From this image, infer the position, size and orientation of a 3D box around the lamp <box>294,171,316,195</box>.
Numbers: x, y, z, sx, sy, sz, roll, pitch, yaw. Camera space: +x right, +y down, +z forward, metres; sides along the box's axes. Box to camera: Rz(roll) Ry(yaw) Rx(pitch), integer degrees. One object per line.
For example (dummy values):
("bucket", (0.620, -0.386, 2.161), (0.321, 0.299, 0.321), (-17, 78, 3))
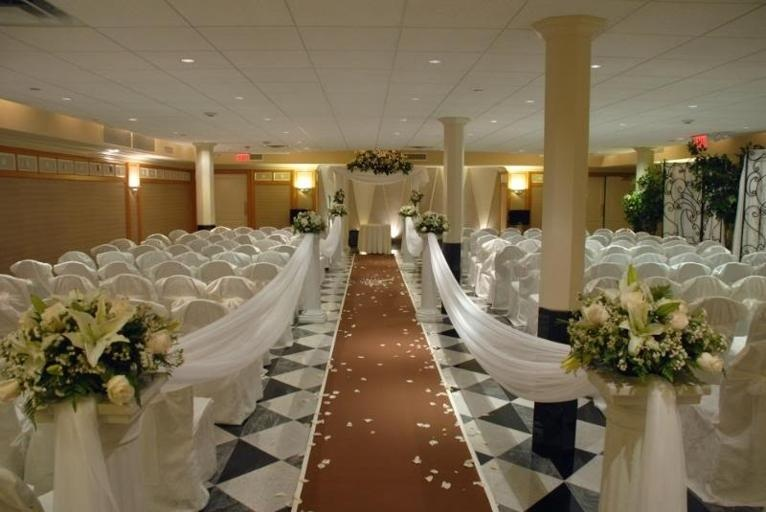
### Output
("lamp", (-2.881, -2.696, 17.666), (1.095, 1.078, 0.605), (-1, 4, -1))

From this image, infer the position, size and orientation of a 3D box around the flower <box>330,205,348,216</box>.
("flower", (-1.130, -1.126, 12.101), (0.319, 0.193, 0.323), (1, 0, 0))

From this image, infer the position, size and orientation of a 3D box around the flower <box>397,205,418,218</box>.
("flower", (0.588, -1.038, 11.152), (0.392, 0.233, 0.393), (1, 2, -9))

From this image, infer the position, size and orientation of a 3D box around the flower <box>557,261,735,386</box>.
("flower", (1.536, 0.435, 2.802), (0.763, 0.542, 0.791), (6, 10, 30))

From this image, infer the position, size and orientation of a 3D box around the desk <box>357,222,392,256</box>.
("desk", (-0.256, -0.540, 16.314), (1.285, 1.135, 0.911), (-1, 3, -18))

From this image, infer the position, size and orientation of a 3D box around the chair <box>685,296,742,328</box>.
("chair", (2.959, 0.504, 4.251), (0.345, 0.368, 0.326), (1, 13, 15))

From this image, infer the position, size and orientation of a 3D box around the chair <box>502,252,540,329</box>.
("chair", (2.274, 0.571, 7.710), (0.429, 1.205, 0.811), (3, 13, 12))

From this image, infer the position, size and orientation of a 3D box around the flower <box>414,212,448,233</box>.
("flower", (0.809, -0.529, 8.059), (0.475, 0.360, 0.474), (1, 0, -5))

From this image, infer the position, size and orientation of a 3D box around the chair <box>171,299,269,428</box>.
("chair", (-1.581, 0.956, 4.757), (1.317, 0.639, 1.096), (-4, 7, -39))
